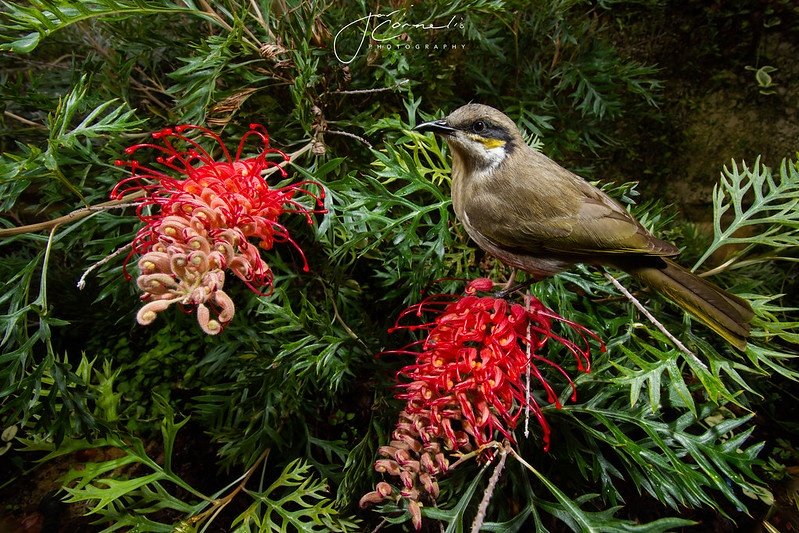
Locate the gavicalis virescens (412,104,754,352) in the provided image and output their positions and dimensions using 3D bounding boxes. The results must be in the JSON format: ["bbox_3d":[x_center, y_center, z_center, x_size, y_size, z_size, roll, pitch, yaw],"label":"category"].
[{"bbox_3d":[0.647,-0.389,3.741,2.320,1.216,0.776,9,16,17],"label":"gavicalis virescens"}]

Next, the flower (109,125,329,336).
[{"bbox_3d":[-0.757,-0.162,2.949,0.291,0.697,0.859,36,61,17],"label":"flower"}]
